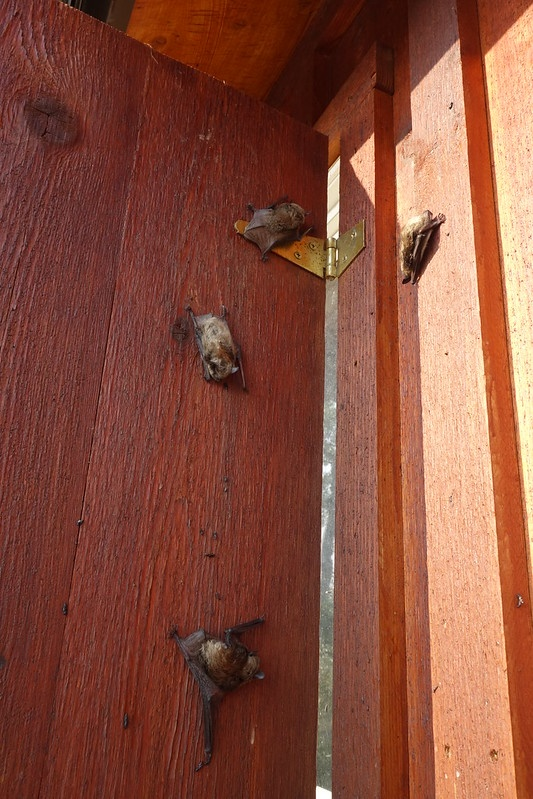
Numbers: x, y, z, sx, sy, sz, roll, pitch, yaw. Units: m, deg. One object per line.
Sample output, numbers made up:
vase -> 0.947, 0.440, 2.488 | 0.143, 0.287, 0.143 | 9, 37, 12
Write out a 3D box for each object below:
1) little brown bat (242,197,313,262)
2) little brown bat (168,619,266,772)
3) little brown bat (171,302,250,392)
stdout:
little brown bat -> 0.022, -0.374, 1.253 | 0.127, 0.124, 0.041 | -40, 9, -10
little brown bat -> -0.079, 0.467, 0.918 | 0.152, 0.201, 0.083 | 4, -16, -5
little brown bat -> -0.101, -0.104, 1.103 | 0.154, 0.135, 0.052 | 12, -18, -21
